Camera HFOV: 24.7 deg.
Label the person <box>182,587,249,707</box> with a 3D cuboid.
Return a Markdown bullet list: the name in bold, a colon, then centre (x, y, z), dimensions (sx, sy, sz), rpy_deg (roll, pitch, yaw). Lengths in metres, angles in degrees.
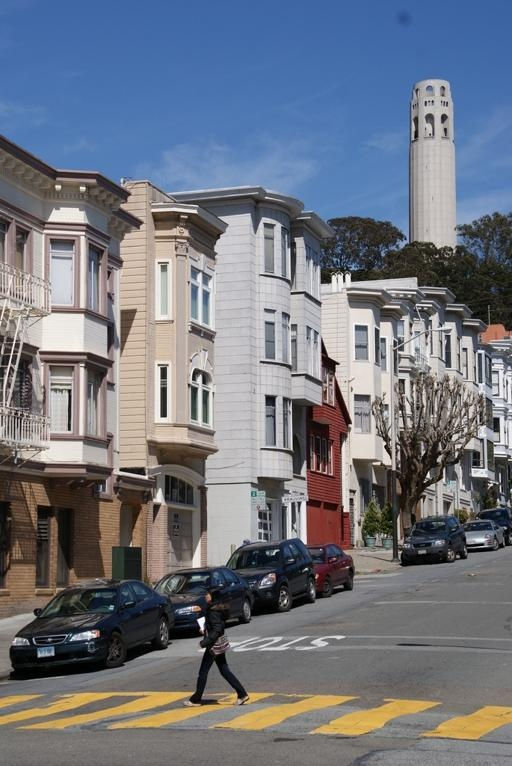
- **person**: centre (-0.454, 3.059, 13.662), dimensions (0.692, 1.302, 1.402), rpy_deg (-1, -9, -1)

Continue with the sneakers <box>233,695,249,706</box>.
- **sneakers**: centre (-0.148, 3.581, 13.226), dimensions (0.080, 0.112, 0.220), rpy_deg (-23, -3, -33)

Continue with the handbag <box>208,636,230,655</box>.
- **handbag**: centre (-0.418, 2.931, 13.126), dimensions (0.152, 0.214, 0.284), rpy_deg (-9, -2, 14)
